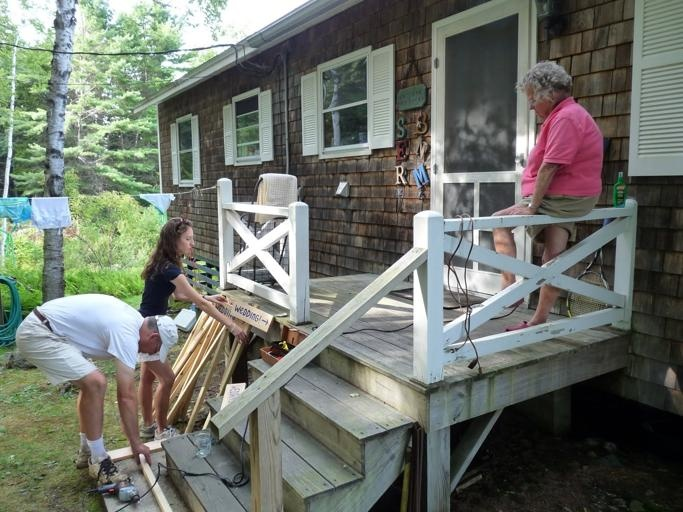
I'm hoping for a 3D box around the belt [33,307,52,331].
[{"bbox_3d":[-2.421,0.514,4.260,0.117,0.174,0.041,19,38,34],"label":"belt"}]

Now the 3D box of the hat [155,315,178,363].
[{"bbox_3d":[-1.570,0.758,4.734,0.178,0.401,0.234,-4,8,-7],"label":"hat"}]

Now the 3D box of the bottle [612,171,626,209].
[{"bbox_3d":[2.401,-0.579,4.486,0.101,0.290,0.182,2,11,29],"label":"bottle"}]

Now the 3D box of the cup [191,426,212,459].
[{"bbox_3d":[-1.220,1.624,4.499,0.153,0.270,0.168,-3,-12,-1],"label":"cup"}]

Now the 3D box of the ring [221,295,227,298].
[{"bbox_3d":[-1.385,0.477,6.167,0.026,0.035,0.050,-2,4,-23],"label":"ring"}]

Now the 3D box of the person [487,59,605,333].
[{"bbox_3d":[1.727,-0.479,4.234,0.682,2.153,0.760,2,10,27],"label":"person"}]
